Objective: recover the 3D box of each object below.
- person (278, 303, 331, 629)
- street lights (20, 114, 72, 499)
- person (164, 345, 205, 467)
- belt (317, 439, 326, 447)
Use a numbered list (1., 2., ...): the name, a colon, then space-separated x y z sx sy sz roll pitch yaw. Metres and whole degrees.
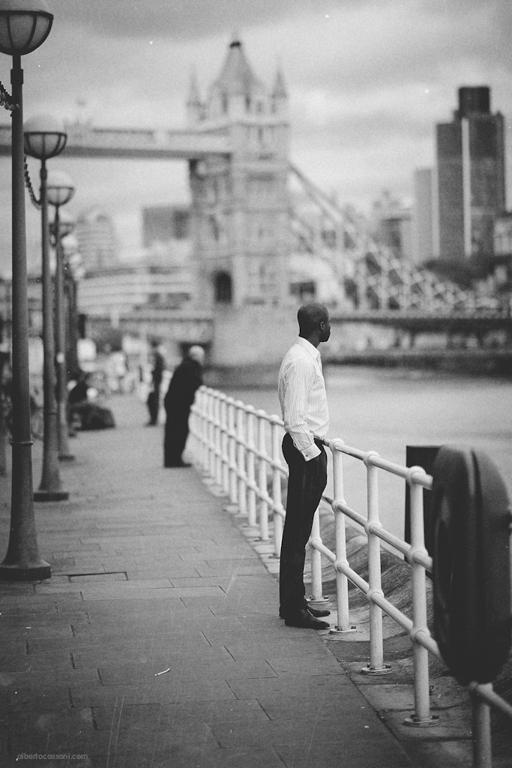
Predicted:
1. person: 0.236 0.431 7.324 0.318 1.626 0.497 -3 7 2
2. street lights: -1.900 -0.642 13.468 0.484 3.953 0.508 -1 24 -7
3. person: -0.795 0.242 16.346 0.502 1.248 0.802 -4 7 -3
4. belt: 0.322 0.283 7.242 0.009 0.037 0.037 -26 7 -31
